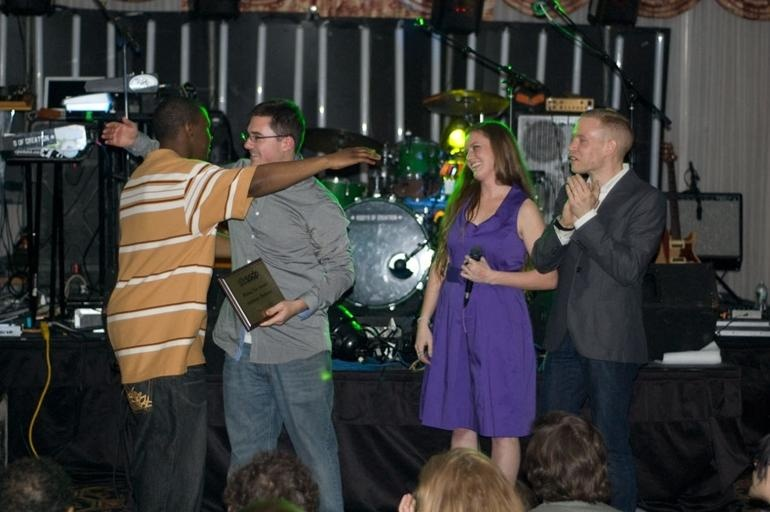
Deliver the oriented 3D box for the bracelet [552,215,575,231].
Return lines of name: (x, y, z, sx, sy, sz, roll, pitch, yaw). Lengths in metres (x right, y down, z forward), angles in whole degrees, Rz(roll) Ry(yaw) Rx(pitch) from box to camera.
bracelet: (1.393, -0.257, 8.352, 0.187, 0.099, 0.098, 5, 7, 39)

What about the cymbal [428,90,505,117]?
cymbal: (0.862, -1.667, 11.462, 0.904, 0.246, 0.521, 1, 5, 5)

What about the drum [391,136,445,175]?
drum: (0.315, -1.066, 11.157, 0.472, 0.388, 0.557, 2, 9, -4)

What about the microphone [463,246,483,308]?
microphone: (0.678, 0.144, 8.409, 0.101, 0.552, 0.092, 13, 31, 10)

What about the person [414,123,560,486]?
person: (0.721, 0.380, 8.559, 0.798, 3.465, 1.402, -1, 4, -24)

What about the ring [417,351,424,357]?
ring: (0.291, 0.801, 8.625, 0.040, 0.033, 0.042, 1, -8, 0)

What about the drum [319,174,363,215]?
drum: (-0.427, -0.637, 10.980, 0.389, 0.415, 0.391, 3, 4, 40)
